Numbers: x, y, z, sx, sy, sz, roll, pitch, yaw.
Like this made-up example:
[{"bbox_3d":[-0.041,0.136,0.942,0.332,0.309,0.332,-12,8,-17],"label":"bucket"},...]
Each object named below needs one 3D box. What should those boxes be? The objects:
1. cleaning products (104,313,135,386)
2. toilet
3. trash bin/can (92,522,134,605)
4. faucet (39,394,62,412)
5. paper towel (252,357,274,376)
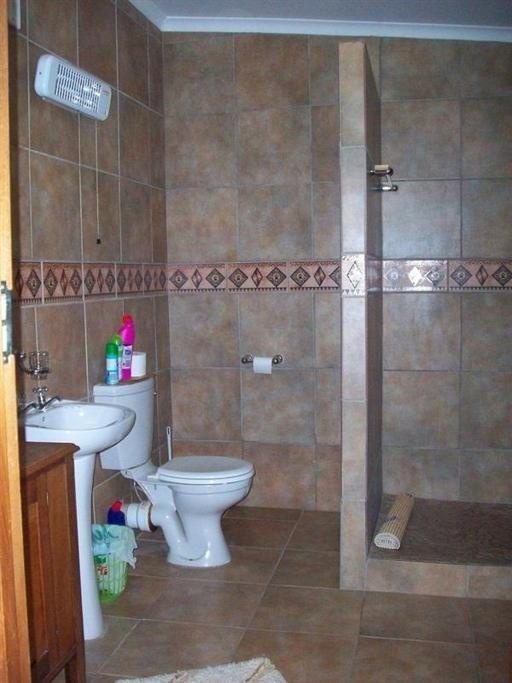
[{"bbox_3d":[-0.578,0.038,2.675,0.089,0.269,0.252,0,3,3],"label":"cleaning products"},{"bbox_3d":[-0.333,0.540,2.731,0.575,0.810,0.385,-1,6,8],"label":"toilet"},{"bbox_3d":[-0.529,0.800,2.350,0.186,0.262,0.231,1,-4,3],"label":"trash bin/can"},{"bbox_3d":[-0.670,0.203,2.084,0.076,0.056,0.035,-2,5,-17],"label":"faucet"},{"bbox_3d":[0.030,0.127,3.226,0.089,0.099,0.073,3,20,14],"label":"paper towel"}]
